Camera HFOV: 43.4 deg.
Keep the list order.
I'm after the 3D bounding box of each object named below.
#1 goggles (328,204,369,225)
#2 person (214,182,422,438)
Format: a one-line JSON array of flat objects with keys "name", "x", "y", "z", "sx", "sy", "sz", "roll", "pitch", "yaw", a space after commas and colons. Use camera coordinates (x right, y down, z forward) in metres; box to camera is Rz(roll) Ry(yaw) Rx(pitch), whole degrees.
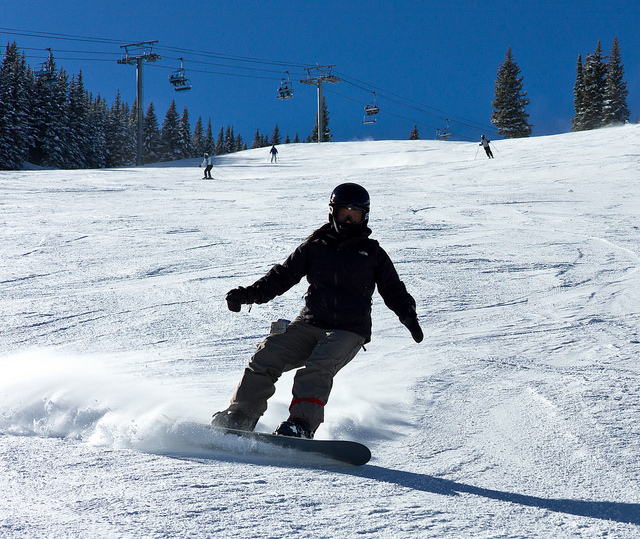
[{"name": "goggles", "x": 0.201, "y": -0.396, "z": 6.119, "sx": 0.292, "sy": 0.145, "sz": 0.166, "roll": 0, "pitch": 15, "yaw": -1}, {"name": "person", "x": -0.104, "y": 0.289, "z": 5.868, "sx": 1.387, "sy": 1.640, "sz": 1.068, "roll": -13, "pitch": 20, "yaw": -40}]
